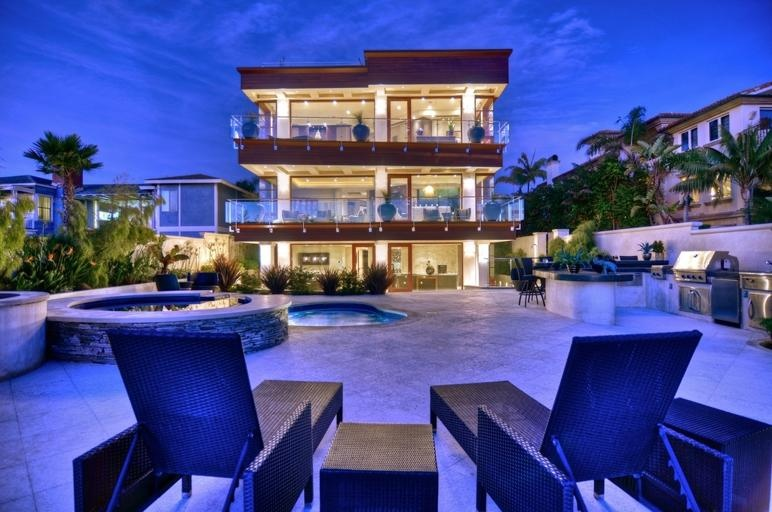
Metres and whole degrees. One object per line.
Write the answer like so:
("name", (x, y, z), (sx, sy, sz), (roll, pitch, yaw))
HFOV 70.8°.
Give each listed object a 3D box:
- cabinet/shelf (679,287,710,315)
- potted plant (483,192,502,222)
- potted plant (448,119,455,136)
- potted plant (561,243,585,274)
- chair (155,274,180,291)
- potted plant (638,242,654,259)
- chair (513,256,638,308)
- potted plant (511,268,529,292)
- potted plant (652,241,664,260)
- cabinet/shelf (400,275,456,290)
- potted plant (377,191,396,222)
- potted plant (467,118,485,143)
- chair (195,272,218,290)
("cabinet/shelf", (10.736, 1.532, 18.851), (0.227, 0.872, 0.958), (3, -4, -16))
("potted plant", (5.260, -2.380, 26.921), (1.042, 1.247, 1.028), (2, -5, -23))
("potted plant", (3.300, -6.503, 27.739), (0.390, 0.861, 0.205), (-1, 5, 6))
("potted plant", (6.577, 0.185, 19.076), (0.708, 0.816, 0.894), (1, 5, 29))
("chair", (-8.254, 0.996, 20.692), (0.656, 0.900, 0.736), (0, 2, -40))
("potted plant", (11.532, -0.233, 23.919), (0.776, 0.781, 0.771), (2, -3, -10))
("chair", (6.971, 1.015, 20.287), (2.685, 1.933, 4.498), (-2, 4, -7))
("potted plant", (5.638, 0.991, 23.160), (0.897, 0.941, 0.829), (3, -7, -39))
("potted plant", (11.923, -0.270, 23.848), (0.436, 0.773, 0.573), (1, 5, 30))
("cabinet/shelf", (2.214, 1.353, 28.637), (3.366, 0.806, 0.398), (-2, 5, -12))
("potted plant", (-0.028, -2.414, 27.216), (1.278, 1.913, 1.220), (0, -4, -3))
("potted plant", (4.575, -6.307, 27.474), (0.999, 1.154, 0.923), (0, -4, -16))
("chair", (-7.308, 1.011, 22.057), (0.788, 0.745, 0.721), (2, 1, -1))
